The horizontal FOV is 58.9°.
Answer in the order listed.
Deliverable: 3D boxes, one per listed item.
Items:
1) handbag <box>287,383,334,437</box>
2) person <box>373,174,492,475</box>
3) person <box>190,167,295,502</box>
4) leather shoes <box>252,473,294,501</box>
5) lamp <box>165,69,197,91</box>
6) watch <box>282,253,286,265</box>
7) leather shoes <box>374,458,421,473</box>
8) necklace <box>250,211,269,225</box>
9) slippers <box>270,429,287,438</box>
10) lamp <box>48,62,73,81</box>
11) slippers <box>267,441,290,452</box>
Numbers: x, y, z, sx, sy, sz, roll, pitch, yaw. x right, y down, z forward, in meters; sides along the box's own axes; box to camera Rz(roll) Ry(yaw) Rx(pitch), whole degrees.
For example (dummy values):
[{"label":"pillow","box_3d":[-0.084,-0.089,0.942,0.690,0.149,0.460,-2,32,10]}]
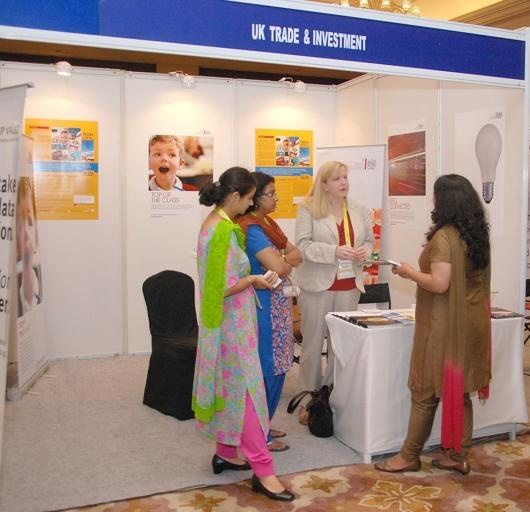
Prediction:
[{"label":"handbag","box_3d":[0.274,1.015,3.163,0.348,0.366,0.243,-2,0,3]},{"label":"person","box_3d":[0.942,0.375,2.518,0.611,1.615,0.355,0,3,8]},{"label":"person","box_3d":[-0.120,0.375,2.381,0.491,1.641,0.470,-1,3,-10]},{"label":"leather shoes","box_3d":[0.039,1.143,2.340,0.236,0.105,0.087,0,-7,29]},{"label":"lamp","box_3d":[-0.908,-1.849,4.868,0.392,0.171,0.146,23,14,16]},{"label":"watch","box_3d":[0.115,0.007,2.830,0.014,0.041,0.030,-3,9,-12]},{"label":"leather shoes","box_3d":[0.737,1.152,2.575,0.191,0.081,0.102,4,-5,8]},{"label":"necklace","box_3d":[-0.032,-0.218,2.711,0.073,0.057,0.094,1,12,-22]},{"label":"slippers","box_3d":[0.089,1.147,3.085,0.115,0.047,0.040,0,2,-29]},{"label":"lamp","box_3d":[-1.904,-1.722,4.421,0.176,0.184,0.239,-8,20,-32]},{"label":"slippers","box_3d":[0.083,1.148,2.882,0.107,0.041,0.066,-1,0,8]}]
